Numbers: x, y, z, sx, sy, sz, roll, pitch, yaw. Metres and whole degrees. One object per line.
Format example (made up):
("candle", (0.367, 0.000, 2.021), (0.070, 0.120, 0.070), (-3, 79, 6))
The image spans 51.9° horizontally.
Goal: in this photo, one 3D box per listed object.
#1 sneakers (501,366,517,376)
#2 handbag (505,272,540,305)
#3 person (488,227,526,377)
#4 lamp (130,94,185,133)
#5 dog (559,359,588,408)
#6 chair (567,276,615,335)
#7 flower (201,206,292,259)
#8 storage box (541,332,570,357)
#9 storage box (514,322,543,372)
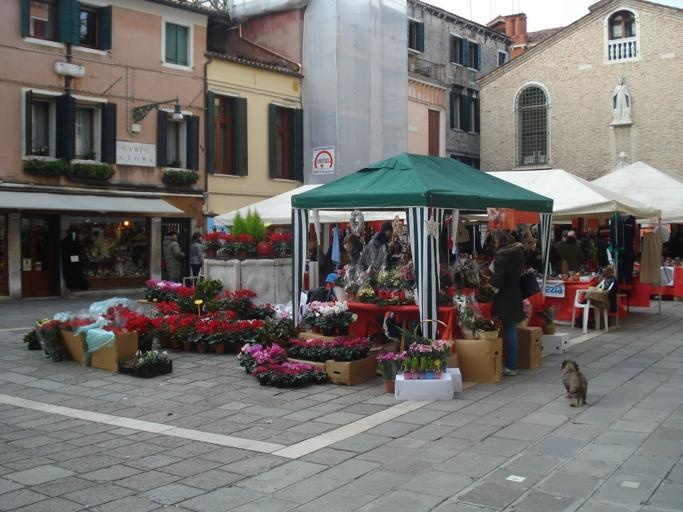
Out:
("sneakers", (2.377, 1.640, 9.934), (0.205, 0.078, 0.098), (3, -5, -28))
("handbag", (2.681, 0.471, 10.448), (0.540, 0.470, 0.293), (-23, 13, -40))
("person", (2.381, 0.673, 10.042), (0.447, 2.065, 0.627), (1, 11, 14))
("lamp", (-5.758, -4.434, 21.924), (1.584, 1.123, 1.604), (-3, 10, -10))
("dog", (2.865, 1.576, 8.637), (0.313, 0.431, 0.583), (2, 11, 18))
("chair", (4.979, 0.916, 13.788), (0.768, 1.069, 0.706), (-2, -6, 35))
("flower", (-1.880, -0.361, 13.983), (1.291, 0.734, 1.296), (0, 0, 32))
("storage box", (3.488, 1.432, 11.450), (0.349, 0.209, 0.349), (-1, 2, 29))
("storage box", (2.710, 1.380, 10.652), (0.340, 0.512, 0.592), (0, 0, -45))
